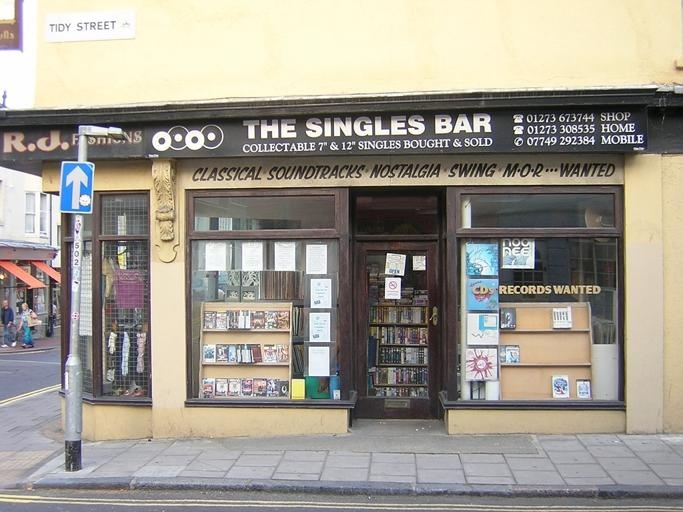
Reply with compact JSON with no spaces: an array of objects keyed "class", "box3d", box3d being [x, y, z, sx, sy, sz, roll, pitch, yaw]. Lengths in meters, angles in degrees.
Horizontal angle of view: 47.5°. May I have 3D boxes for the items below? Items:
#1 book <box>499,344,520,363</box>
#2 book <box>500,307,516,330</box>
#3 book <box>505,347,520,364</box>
[{"class":"book","box3d":[2.909,1.684,13.469,0.319,0.306,0.034,0,-10,0]},{"class":"book","box3d":[2.889,1.075,13.476,0.368,0.517,0.056,1,-5,0]},{"class":"book","box3d":[2.961,1.704,13.468,0.290,0.277,0.067,2,-7,2]}]
